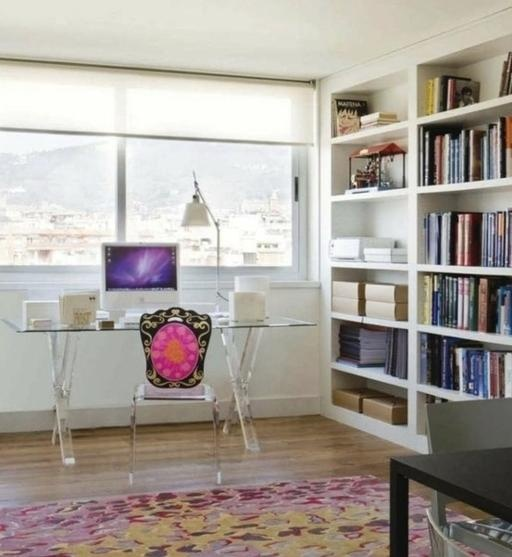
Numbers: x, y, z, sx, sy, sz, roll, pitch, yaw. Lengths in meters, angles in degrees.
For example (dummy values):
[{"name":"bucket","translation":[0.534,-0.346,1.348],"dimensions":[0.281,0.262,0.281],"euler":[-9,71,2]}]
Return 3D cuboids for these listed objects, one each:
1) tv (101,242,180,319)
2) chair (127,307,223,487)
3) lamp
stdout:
[{"name":"tv","translation":[-0.723,0.013,3.516],"dimensions":[0.476,0.467,0.157],"euler":[0,-3,-14]},{"name":"chair","translation":[-0.443,0.585,3.252],"dimensions":[0.513,0.859,1.060],"euler":[0,-1,-10]},{"name":"lamp","translation":[-0.358,-0.298,4.073],"dimensions":[0.325,0.999,0.707],"euler":[0,-1,-6]}]
